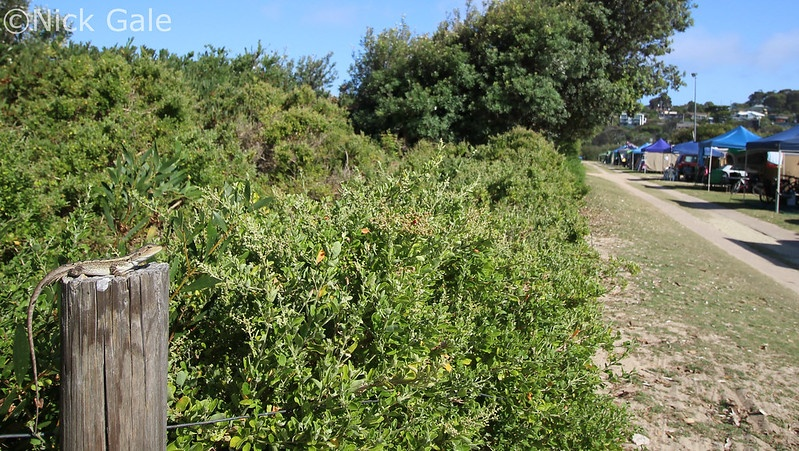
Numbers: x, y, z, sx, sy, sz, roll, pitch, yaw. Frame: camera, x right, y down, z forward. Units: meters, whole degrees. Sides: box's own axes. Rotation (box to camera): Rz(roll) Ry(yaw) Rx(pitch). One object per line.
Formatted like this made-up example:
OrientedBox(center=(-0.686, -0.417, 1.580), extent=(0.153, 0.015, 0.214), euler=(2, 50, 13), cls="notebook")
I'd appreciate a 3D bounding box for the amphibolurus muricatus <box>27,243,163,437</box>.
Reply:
OrientedBox(center=(-3.452, 1.253, 6.070), extent=(1.474, 2.143, 0.398), euler=(3, 5, -1), cls="amphibolurus muricatus")
